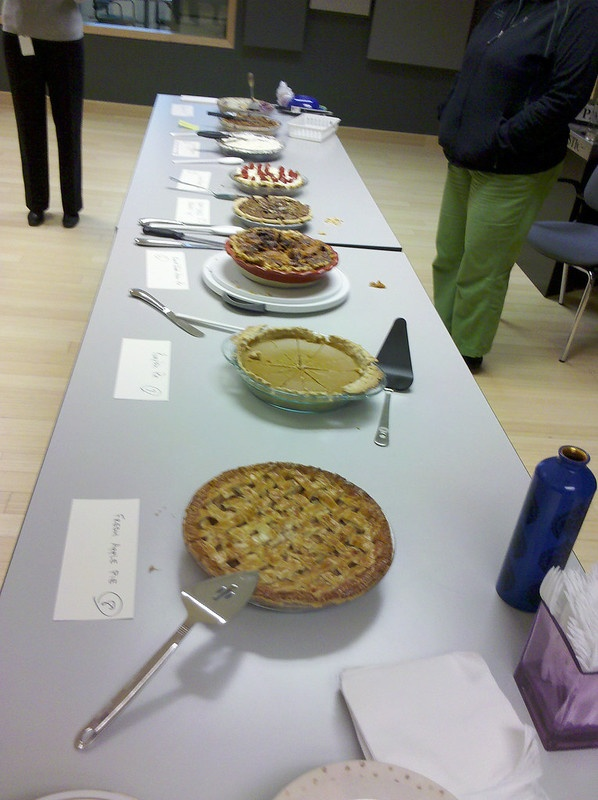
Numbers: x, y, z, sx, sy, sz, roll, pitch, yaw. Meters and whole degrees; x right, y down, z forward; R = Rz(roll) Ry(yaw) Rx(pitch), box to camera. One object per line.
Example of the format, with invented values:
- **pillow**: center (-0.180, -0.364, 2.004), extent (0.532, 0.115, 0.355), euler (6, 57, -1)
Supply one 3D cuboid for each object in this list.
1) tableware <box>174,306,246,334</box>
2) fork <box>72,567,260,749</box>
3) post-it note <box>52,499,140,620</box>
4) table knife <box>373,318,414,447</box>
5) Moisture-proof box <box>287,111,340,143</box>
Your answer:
- **tableware**: center (-0.175, -0.151, 1.243), extent (0.129, 0.029, 0.023), euler (23, 31, 7)
- **fork**: center (-0.114, 0.220, 0.605), extent (0.064, 0.017, 0.231), euler (25, 35, 22)
- **post-it note**: center (-0.224, 0.175, 0.708), extent (0.090, 0.002, 0.162), euler (5, 37, -13)
- **table knife**: center (0.157, -0.037, 1.083), extent (0.060, 0.029, 0.258), euler (12, 39, 3)
- **Moisture-proof box**: center (0.068, -1.166, 2.757), extent (0.197, 0.066, 0.225), euler (14, 35, 12)
